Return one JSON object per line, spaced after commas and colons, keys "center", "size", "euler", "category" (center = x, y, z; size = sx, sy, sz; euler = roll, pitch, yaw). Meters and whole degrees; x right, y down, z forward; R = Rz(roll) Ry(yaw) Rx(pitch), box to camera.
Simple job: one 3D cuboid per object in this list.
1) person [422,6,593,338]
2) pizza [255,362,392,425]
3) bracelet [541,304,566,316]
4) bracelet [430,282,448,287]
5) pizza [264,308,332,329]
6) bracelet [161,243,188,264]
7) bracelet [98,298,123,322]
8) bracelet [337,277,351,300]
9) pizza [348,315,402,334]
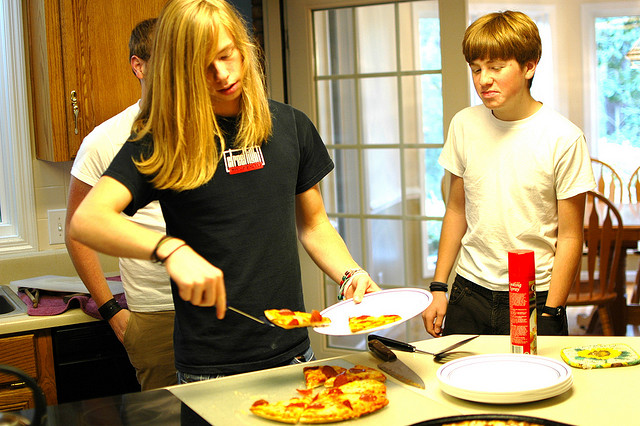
{"center": [0.738, -0.143, 2.062], "size": [0.611, 1.305, 0.346], "euler": [1, 9, 29], "category": "person"}
{"center": [0.024, 0.481, 1.386], "size": [0.330, 0.054, 0.284], "euler": [-1, 8, 16], "category": "pizza"}
{"center": [0.904, 0.379, 1.992], "size": [0.068, 0.038, 0.066], "euler": [1, -4, -12], "category": "bracelet"}
{"center": [0.516, 0.310, 2.229], "size": [0.068, 0.022, 0.043], "euler": [-3, 8, 4], "category": "bracelet"}
{"center": [-0.050, 0.287, 1.420], "size": [0.072, 0.036, 0.143], "euler": [1, -1, 44], "category": "pizza"}
{"center": [-0.372, 0.105, 1.314], "size": [0.064, 0.042, 0.022], "euler": [-6, 8, -19], "category": "bracelet"}
{"center": [-0.911, 0.418, 2.238], "size": [0.091, 0.064, 0.092], "euler": [-24, 9, 41], "category": "bracelet"}
{"center": [0.073, 0.251, 1.684], "size": [0.026, 0.064, 0.053], "euler": [14, 34, 27], "category": "bracelet"}
{"center": [0.159, 0.310, 1.489], "size": [0.149, 0.029, 0.161], "euler": [-3, 8, 3], "category": "pizza"}
